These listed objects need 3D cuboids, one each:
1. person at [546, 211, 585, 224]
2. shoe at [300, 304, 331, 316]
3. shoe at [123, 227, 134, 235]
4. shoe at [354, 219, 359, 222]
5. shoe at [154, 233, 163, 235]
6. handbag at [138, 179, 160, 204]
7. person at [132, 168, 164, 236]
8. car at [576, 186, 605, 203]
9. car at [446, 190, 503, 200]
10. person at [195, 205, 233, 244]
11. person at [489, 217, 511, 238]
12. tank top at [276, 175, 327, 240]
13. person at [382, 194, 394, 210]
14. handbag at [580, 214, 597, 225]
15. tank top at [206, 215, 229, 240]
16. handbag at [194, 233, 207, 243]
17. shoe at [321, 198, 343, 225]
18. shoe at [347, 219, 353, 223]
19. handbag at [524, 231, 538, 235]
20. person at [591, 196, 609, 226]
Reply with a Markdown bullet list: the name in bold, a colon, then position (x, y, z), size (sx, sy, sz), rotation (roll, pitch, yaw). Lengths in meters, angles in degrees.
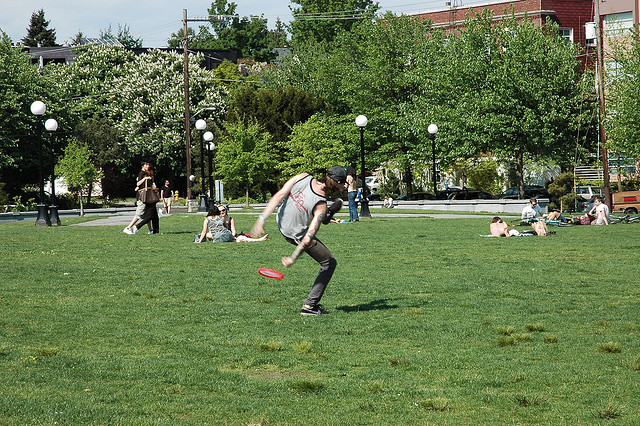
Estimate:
- **person**: position (10.703, 0.182, 35.425), size (0.810, 0.261, 0.418), rotation (26, -7, -26)
- **shoe**: position (-0.088, 2.093, 17.552), size (0.644, 0.277, 0.236), rotation (1, 2, -5)
- **shoe**: position (-6.752, 0.624, 28.766), size (0.232, 0.254, 0.548), rotation (-2, -1, -31)
- **shoe**: position (1.616, 0.290, 35.134), size (0.161, 0.082, 0.549), rotation (-2, -1, 12)
- **shoe**: position (-5.711, 0.714, 28.842), size (0.191, 0.047, 0.231), rotation (-3, -1, 34)
- **handbag**: position (-5.844, -0.751, 27.838), size (0.651, 0.818, 0.780), rotation (-2, 0, -13)
- **person**: position (-6.120, -0.439, 28.602), size (1.122, 2.556, 0.874), rotation (-1, 5, 0)
- **car**: position (15.526, -1.089, 46.577), size (1.162, 1.057, 1.999), rotation (3, 11, 36)
- **car**: position (9.951, -1.191, 53.176), size (2.376, 0.800, 1.082), rotation (-4, 5, -14)
- **person**: position (-3.772, 0.424, 28.899), size (1.561, 1.311, 0.779), rotation (-2, 14, -10)
- **person**: position (6.393, 0.461, 28.814), size (0.624, 0.727, 0.887), rotation (-2, -1, 12)
- **tank top**: position (-0.669, -0.228, 17.381), size (0.787, 1.501, 1.046), rotation (16, -1, -6)
- **person**: position (4.365, -0.767, 51.744), size (0.667, 0.853, 1.042), rotation (-2, -1, 4)
- **handbag**: position (11.164, 0.252, 33.763), size (0.516, 0.519, 0.368), rotation (0, 7, -8)
- **tank top**: position (-3.413, 0.454, 26.999), size (0.576, 0.737, 0.404), rotation (-16, 4, 12)
- **handbag**: position (-3.988, 0.797, 26.980), size (0.282, 0.320, 0.379), rotation (1, -6, 1)
- **shoe**: position (0.251, -0.034, 16.802), size (0.556, 0.155, 0.326), rotation (-37, 18, 4)
- **shoe**: position (1.316, 0.311, 34.855), size (0.182, 0.070, 0.125), rotation (5, 9, 38)
- **handbag**: position (7.611, 0.701, 29.185), size (0.426, 0.170, 0.132), rotation (-2, -3, 15)
- **person**: position (11.537, -0.132, 33.884), size (0.872, 1.099, 1.564), rotation (-5, 0, 7)
